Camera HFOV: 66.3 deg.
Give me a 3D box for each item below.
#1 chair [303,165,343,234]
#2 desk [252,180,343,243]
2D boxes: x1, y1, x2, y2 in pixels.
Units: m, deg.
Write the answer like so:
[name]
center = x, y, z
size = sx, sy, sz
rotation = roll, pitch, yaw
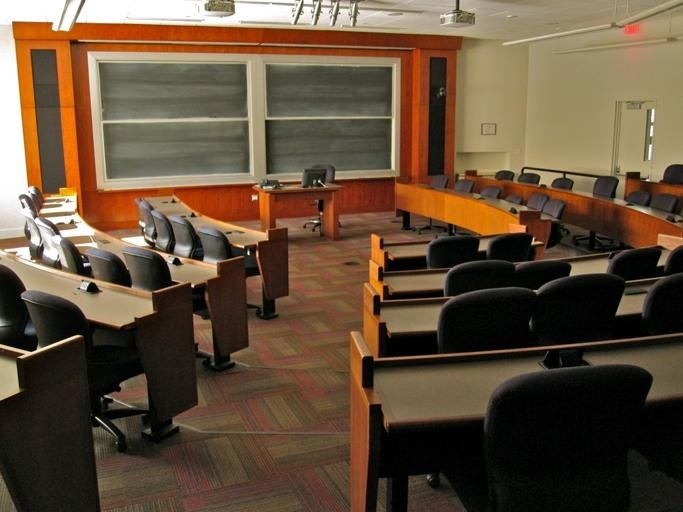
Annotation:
[chair]
center = -0.488, -1.083, 9.904
size = 0.985, 1.159, 0.852
rotation = -8, 20, 8
[desk]
center = -0.804, -0.959, 9.438
size = 1.702, 0.917, 1.194
rotation = -3, 11, -15
